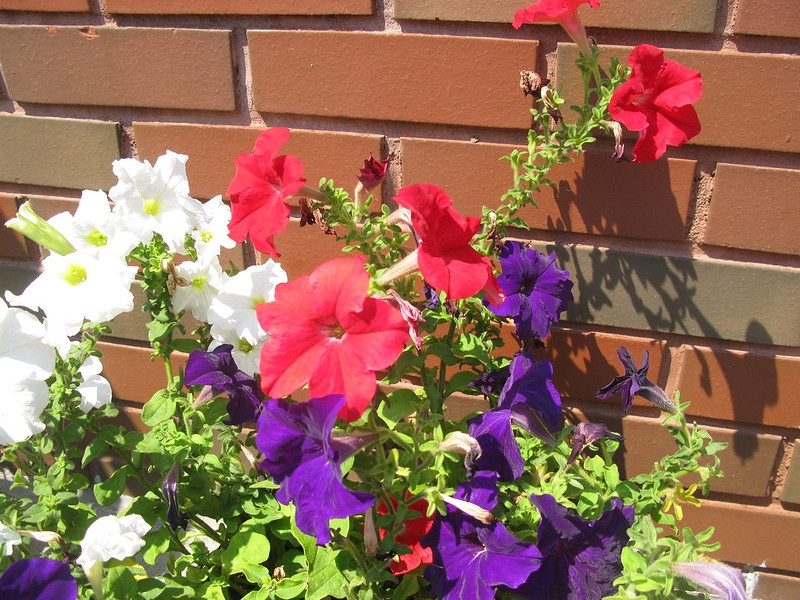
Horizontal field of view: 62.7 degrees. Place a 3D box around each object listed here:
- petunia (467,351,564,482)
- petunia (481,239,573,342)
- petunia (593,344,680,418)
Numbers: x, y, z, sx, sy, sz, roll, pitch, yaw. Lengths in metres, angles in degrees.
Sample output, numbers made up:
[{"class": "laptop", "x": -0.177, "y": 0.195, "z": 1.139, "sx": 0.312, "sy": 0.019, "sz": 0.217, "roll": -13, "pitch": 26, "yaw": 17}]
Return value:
[{"class": "petunia", "x": 0.215, "y": 0.217, "z": 1.217, "sx": 0.165, "sy": 0.191, "sz": 0.135, "roll": 2, "pitch": -42, "yaw": 7}, {"class": "petunia", "x": 0.294, "y": -0.017, "z": 1.474, "sx": 0.206, "sy": 0.212, "sz": 0.081, "roll": 1, "pitch": -7, "yaw": -20}, {"class": "petunia", "x": 0.518, "y": 0.186, "z": 1.439, "sx": 0.154, "sy": 0.166, "sz": 0.142, "roll": -22, "pitch": -35, "yaw": 9}]
